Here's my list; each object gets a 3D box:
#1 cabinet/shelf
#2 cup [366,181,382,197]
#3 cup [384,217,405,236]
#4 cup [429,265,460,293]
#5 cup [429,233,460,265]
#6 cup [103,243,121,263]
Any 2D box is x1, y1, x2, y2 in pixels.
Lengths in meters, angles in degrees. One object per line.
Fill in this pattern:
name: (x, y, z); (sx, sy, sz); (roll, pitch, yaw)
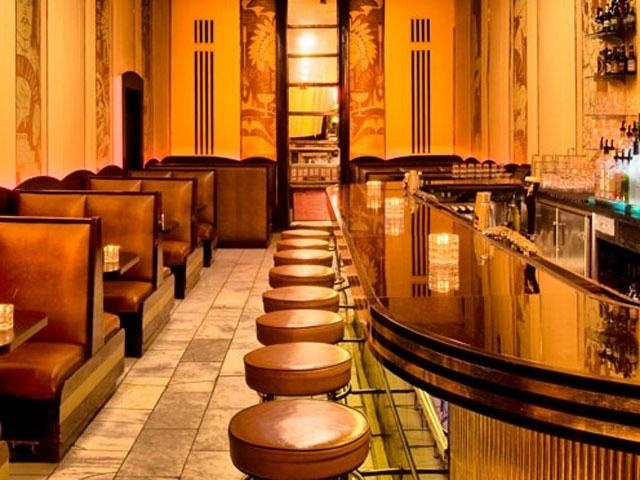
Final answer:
cabinet/shelf: (1.981, -0.023, 5.473); (0.394, 0.647, 0.636); (0, 5, -4)
cup: (0.509, -0.490, 6.347); (0.151, 0.195, 0.160); (0, 8, 0)
cup: (0.455, -0.082, 4.156); (0.098, 0.106, 0.100); (0, -1, 0)
cup: (0.515, 0.162, 2.832); (0.092, 0.108, 0.099); (2, 6, 0)
cup: (0.569, 0.043, 3.189); (0.136, 0.164, 0.135); (2, 4, 0)
cup: (-1.562, 0.096, 5.017); (0.133, 0.163, 0.144); (3, 8, 0)
